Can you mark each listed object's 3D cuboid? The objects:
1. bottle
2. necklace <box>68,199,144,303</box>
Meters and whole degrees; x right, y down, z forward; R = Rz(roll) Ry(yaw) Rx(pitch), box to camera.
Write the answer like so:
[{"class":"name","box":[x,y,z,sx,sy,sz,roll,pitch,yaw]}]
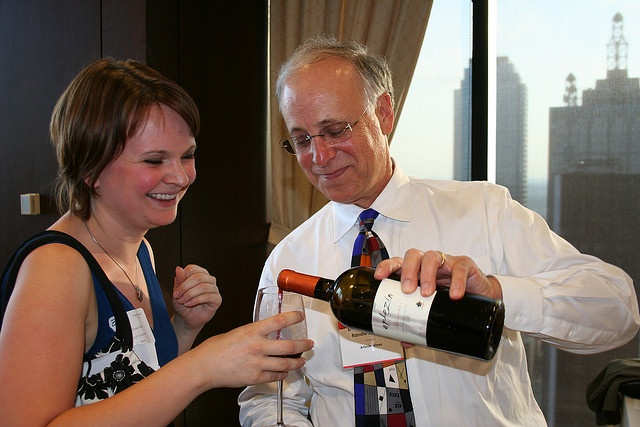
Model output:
[{"class":"bottle","box":[0.216,0.401,2.474,1.096,0.357,0.345,11,-1,13]},{"class":"necklace","box":[-1.057,0.272,2.817,0.096,0.375,0.369,-18,-10,33]}]
